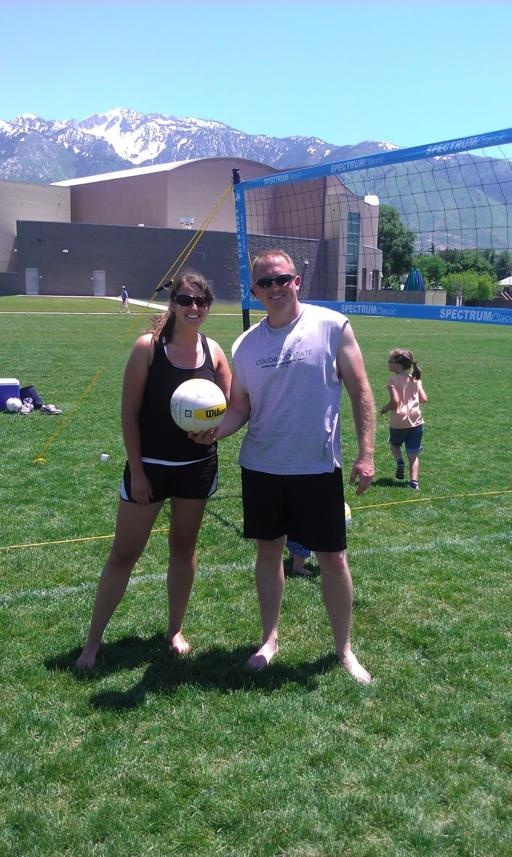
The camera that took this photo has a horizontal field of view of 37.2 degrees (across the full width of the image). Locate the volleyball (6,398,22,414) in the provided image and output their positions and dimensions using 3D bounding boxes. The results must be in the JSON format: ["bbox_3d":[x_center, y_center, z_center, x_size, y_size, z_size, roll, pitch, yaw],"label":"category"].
[{"bbox_3d":[-2.952,-0.300,9.309,0.174,0.169,0.189,6,9,28],"label":"volleyball"}]

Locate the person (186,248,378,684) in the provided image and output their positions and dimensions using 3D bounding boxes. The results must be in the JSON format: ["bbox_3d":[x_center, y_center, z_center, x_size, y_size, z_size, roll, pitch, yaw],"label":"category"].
[{"bbox_3d":[0.114,0.154,3.048,0.687,1.684,0.501,1,8,16],"label":"person"}]

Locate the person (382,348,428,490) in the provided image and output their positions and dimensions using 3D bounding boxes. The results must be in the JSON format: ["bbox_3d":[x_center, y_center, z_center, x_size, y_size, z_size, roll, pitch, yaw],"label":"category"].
[{"bbox_3d":[1.342,-0.139,6.921,0.380,1.175,1.073,3,8,11],"label":"person"}]

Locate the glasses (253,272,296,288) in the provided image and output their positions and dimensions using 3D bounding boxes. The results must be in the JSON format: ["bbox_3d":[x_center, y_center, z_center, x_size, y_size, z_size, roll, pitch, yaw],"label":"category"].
[{"bbox_3d":[0.076,-0.579,2.983,0.152,0.055,0.051,2,8,0],"label":"glasses"}]

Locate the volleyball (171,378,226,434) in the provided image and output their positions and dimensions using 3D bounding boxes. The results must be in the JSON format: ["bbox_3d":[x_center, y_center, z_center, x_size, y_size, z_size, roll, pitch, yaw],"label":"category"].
[{"bbox_3d":[-0.227,-0.089,2.980,0.240,0.242,0.235,0,18,-10],"label":"volleyball"}]

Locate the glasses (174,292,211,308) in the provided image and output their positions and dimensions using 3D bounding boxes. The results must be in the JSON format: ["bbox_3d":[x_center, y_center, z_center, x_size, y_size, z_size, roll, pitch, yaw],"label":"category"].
[{"bbox_3d":[-0.247,-0.504,2.990,0.150,0.049,0.080,-1,9,-19],"label":"glasses"}]
